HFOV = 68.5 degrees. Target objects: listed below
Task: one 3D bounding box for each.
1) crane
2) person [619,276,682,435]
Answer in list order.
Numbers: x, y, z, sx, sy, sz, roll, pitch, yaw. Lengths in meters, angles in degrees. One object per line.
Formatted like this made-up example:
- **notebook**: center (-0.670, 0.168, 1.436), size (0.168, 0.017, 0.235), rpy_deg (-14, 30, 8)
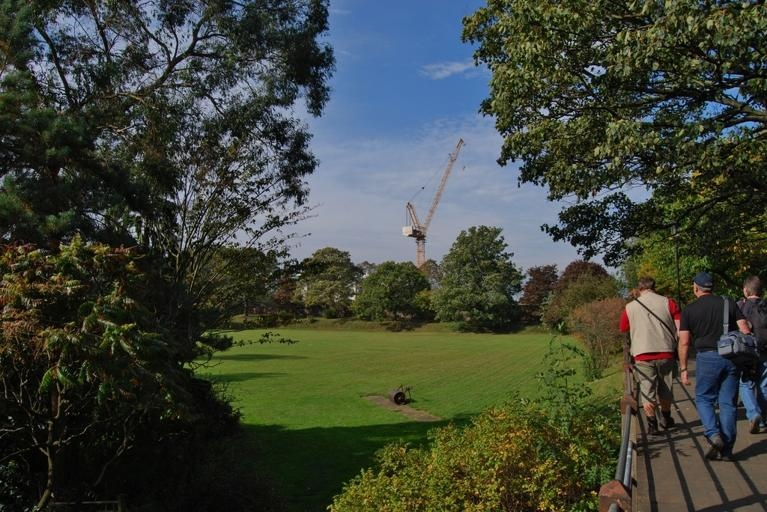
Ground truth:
- **crane**: center (10.500, -9.072, 135.390), size (11.438, 26.511, 3.217), rpy_deg (5, 11, 23)
- **person**: center (5.793, 2.161, 12.150), size (1.133, 3.427, 0.857), rpy_deg (-4, -5, -7)
